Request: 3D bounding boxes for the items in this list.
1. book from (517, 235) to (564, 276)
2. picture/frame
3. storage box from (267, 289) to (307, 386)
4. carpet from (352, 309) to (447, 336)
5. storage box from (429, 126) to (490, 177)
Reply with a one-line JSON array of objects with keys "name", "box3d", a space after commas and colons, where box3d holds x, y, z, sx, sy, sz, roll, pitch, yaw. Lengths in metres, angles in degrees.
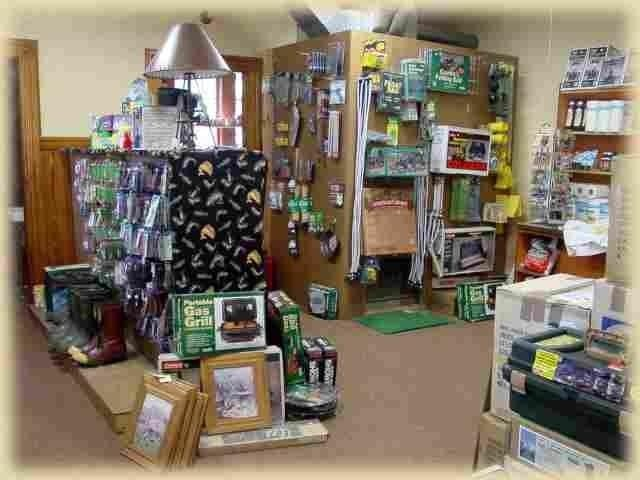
[{"name": "book", "box3d": [2.407, 0.137, 5.713, 0.316, 0.224, 0.530, 11, 57, 36]}, {"name": "picture/frame", "box3d": [-0.800, 1.016, 3.165, 0.556, 0.259, 0.725, -7, 10, -23]}, {"name": "storage box", "box3d": [-0.247, 0.755, 3.887, 0.223, 0.632, 0.565, -8, 8, -9]}, {"name": "carpet", "box3d": [0.931, 0.909, 5.869, 1.000, 0.045, 0.722, -2, 10, -26]}, {"name": "storage box", "box3d": [1.723, -1.072, 6.403, 0.780, 0.563, 0.259, 0, 4, -30]}]
